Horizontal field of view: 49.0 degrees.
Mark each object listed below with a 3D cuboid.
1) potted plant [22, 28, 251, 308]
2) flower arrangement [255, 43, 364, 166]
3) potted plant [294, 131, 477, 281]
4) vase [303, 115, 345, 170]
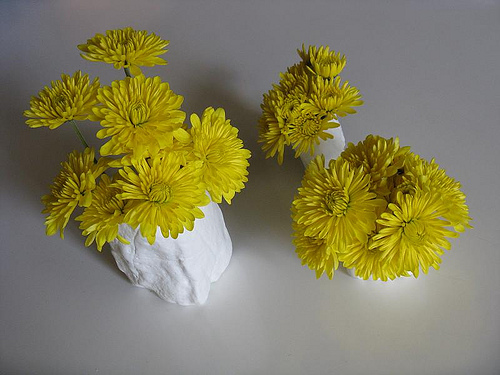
[{"bbox_3d":[-0.258,-0.093,1.437,0.509,0.725,0.567,11,-16,-2],"label":"potted plant"},{"bbox_3d":[0.188,-0.251,1.555,0.134,0.325,0.320,12,-49,-47],"label":"flower arrangement"},{"bbox_3d":[0.287,0.054,1.355,0.346,0.375,0.261,-26,-15,-10],"label":"potted plant"},{"bbox_3d":[0.188,-0.115,1.416,0.113,0.120,0.188,-7,-12,12],"label":"vase"}]
